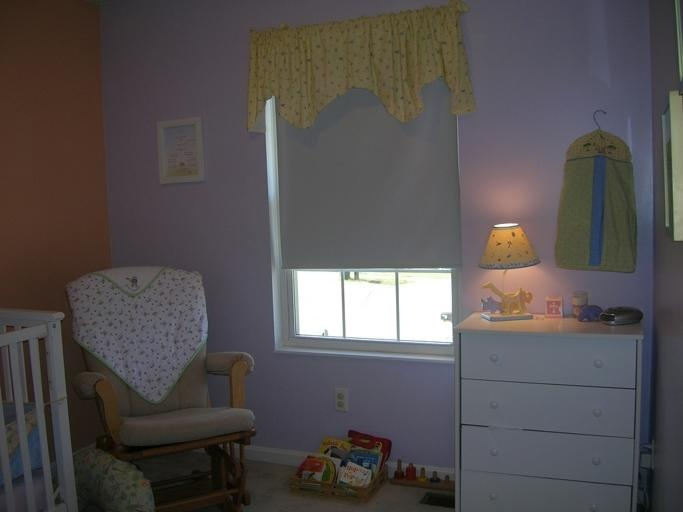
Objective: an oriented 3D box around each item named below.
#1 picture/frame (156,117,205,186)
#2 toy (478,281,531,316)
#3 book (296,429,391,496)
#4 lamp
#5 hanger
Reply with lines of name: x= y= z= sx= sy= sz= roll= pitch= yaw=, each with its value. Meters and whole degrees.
picture/frame: x=-1.099 y=-0.740 z=3.960 sx=0.422 sy=0.531 sz=0.024 roll=2 pitch=9 yaw=19
toy: x=0.899 y=0.250 z=3.337 sx=0.335 sy=0.262 sz=0.135 roll=-2 pitch=0 yaw=-1
book: x=0.039 y=1.203 z=3.515 sx=0.366 sy=0.179 sz=0.386 roll=0 pitch=1 yaw=29
lamp: x=0.958 y=0.082 z=3.290 sx=0.315 sy=0.549 sz=0.332 roll=1 pitch=1 yaw=15
hanger: x=1.441 y=-0.683 z=3.204 sx=0.323 sy=0.286 sz=0.013 roll=12 pitch=29 yaw=43
